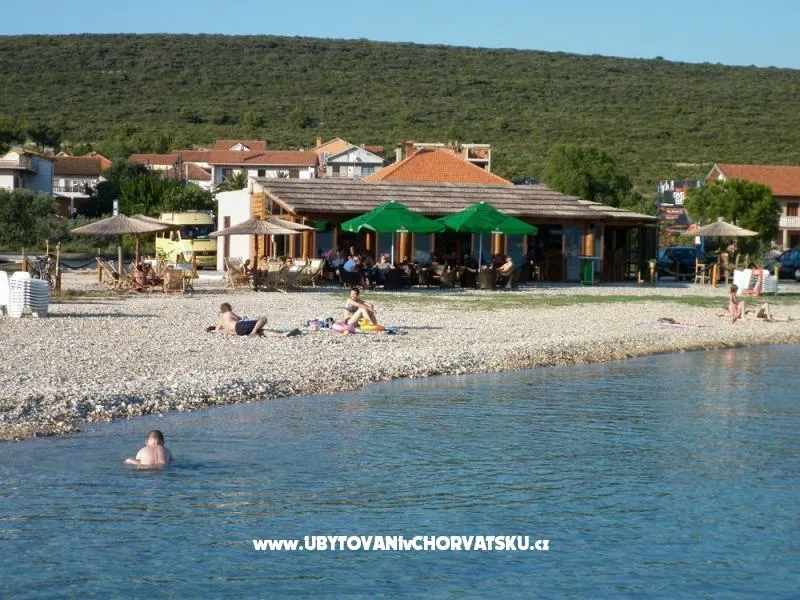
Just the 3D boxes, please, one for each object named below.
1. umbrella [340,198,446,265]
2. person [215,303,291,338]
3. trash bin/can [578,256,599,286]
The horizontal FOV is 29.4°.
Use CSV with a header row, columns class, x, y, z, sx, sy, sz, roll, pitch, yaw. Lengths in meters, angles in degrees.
class,x,y,z,sx,sy,sz,roll,pitch,yaw
umbrella,-0.205,-2.475,46.052,2.813,0.886,1.748,-2,2,-5
person,-3.170,0.489,32.736,1.036,0.887,1.041,2,2,41
trash bin/can,6.398,-1.004,52.060,0.803,1.098,0.796,0,1,-10
